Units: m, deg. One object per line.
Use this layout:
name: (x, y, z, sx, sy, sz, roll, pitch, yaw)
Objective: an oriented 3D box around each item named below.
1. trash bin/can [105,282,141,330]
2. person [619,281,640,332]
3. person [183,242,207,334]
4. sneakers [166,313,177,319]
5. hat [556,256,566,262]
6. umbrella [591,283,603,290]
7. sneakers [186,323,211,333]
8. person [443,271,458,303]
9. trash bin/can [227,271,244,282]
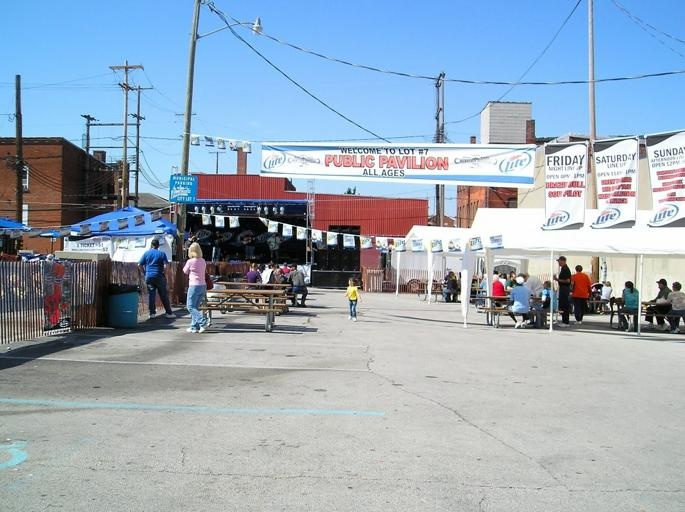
trash bin/can: (-4.890, 1.112, 15.156, 0.834, 0.936, 0.900, 0, -6, -8)
person: (8.668, 1.507, 20.586, 0.762, 1.487, 0.766, 3, 8, 14)
person: (-3.345, 0.714, 15.495, 0.539, 2.008, 1.331, 3, 6, -11)
sneakers: (-4.500, 1.561, 17.848, 0.333, 0.152, 0.122, 0, 6, -16)
hat: (6.685, 0.096, 20.811, 0.259, 0.092, 0.258, -1, -3, 0)
umbrella: (10.188, 1.211, 27.212, 0.303, 0.125, 0.439, -2, -2, 1)
sneakers: (-3.135, 1.607, 15.268, 0.204, 0.257, 0.609, -2, -7, 34)
person: (5.477, 1.600, 34.361, 0.730, 1.544, 1.685, 6, 6, 8)
trash bin/can: (-4.454, 0.852, 28.503, 0.762, 0.407, 0.745, 2, 2, -10)
